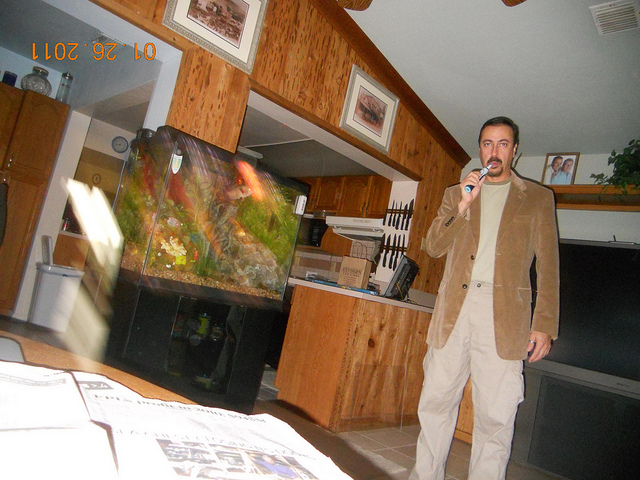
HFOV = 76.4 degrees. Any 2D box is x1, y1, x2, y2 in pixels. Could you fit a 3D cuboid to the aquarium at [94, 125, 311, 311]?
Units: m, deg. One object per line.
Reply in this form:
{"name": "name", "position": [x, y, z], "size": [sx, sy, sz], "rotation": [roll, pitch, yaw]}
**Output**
{"name": "aquarium", "position": [-0.752, -0.057, 2.650], "size": [0.632, 1.017, 1.167], "rotation": [-6, -15, 34]}

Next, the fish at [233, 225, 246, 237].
{"name": "fish", "position": [-0.469, -0.054, 2.372], "size": [0.057, 0.059, 0.020], "rotation": [11, 4, -43]}

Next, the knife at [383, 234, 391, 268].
{"name": "knife", "position": [0.766, 0.124, 4.635], "size": [0.049, 0.389, 0.017], "rotation": [10, -4, 40]}

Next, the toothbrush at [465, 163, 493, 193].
{"name": "toothbrush", "position": [0.781, -0.311, 2.000], "size": [0.134, 0.181, 0.049], "rotation": [16, -10, -33]}

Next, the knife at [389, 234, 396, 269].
{"name": "knife", "position": [0.821, 0.128, 4.554], "size": [0.051, 0.393, 0.015], "rotation": [7, -5, 44]}

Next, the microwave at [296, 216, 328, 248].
{"name": "microwave", "position": [-0.088, -0.115, 6.525], "size": [0.464, 0.495, 0.339], "rotation": [4, -5, 20]}

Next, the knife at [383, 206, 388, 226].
{"name": "knife", "position": [0.770, -0.284, 4.779], "size": [0.009, 0.222, 0.035], "rotation": [26, -13, -35]}

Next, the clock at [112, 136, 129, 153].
{"name": "clock", "position": [-2.562, -1.231, 5.235], "size": [0.062, 0.179, 0.218], "rotation": [7, -9, 16]}

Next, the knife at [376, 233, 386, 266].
{"name": "knife", "position": [0.712, 0.097, 4.717], "size": [0.058, 0.456, 0.017], "rotation": [16, 18, 17]}
